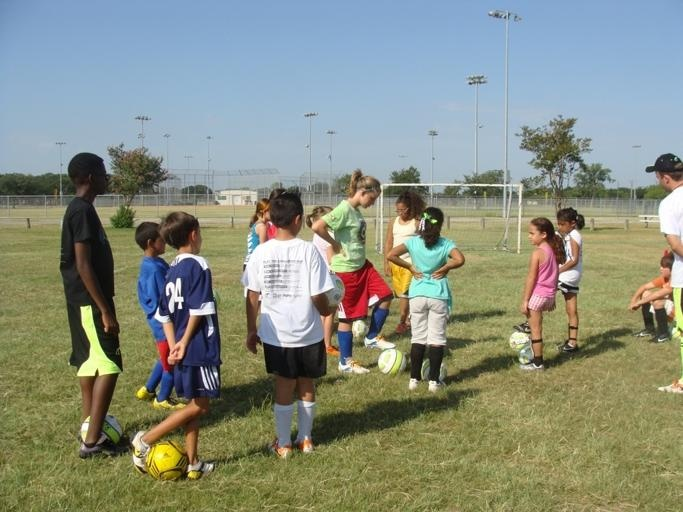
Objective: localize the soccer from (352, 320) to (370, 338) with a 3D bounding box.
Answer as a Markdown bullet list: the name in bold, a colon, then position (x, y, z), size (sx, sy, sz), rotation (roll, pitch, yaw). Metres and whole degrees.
- **soccer**: position (0.292, 1.049, 9.658), size (0.262, 0.237, 0.226), rotation (16, -45, -37)

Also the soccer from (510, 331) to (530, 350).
- **soccer**: position (2.226, 1.082, 8.238), size (0.195, 0.182, 0.230), rotation (-32, -10, -19)

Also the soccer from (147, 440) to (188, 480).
- **soccer**: position (-1.526, 1.799, 5.749), size (0.304, 0.330, 0.315), rotation (16, -33, -7)

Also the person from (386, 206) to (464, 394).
- **person**: position (0.993, 0.492, 7.410), size (0.737, 2.009, 0.604), rotation (3, 12, 12)

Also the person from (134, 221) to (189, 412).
- **person**: position (-1.942, 0.662, 6.977), size (0.700, 1.996, 0.530), rotation (-8, 16, -24)

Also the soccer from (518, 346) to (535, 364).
- **soccer**: position (2.318, 1.261, 8.171), size (0.144, 0.186, 0.211), rotation (-1, -8, 9)

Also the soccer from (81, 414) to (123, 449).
- **soccer**: position (-2.256, 1.630, 6.099), size (0.234, 0.356, 0.293), rotation (7, 18, 27)

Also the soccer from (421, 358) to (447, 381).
- **soccer**: position (1.090, 1.365, 7.680), size (0.201, 0.304, 0.280), rotation (3, -5, 5)

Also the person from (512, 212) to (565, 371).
- **person**: position (2.483, 0.483, 8.087), size (0.389, 1.868, 0.690), rotation (6, 14, 27)

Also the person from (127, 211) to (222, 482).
- **person**: position (-1.393, 0.791, 5.697), size (0.691, 2.242, 0.869), rotation (11, 16, 42)
